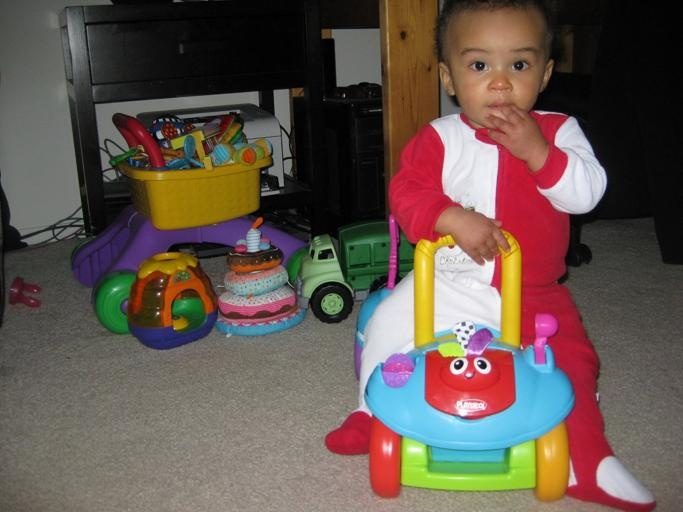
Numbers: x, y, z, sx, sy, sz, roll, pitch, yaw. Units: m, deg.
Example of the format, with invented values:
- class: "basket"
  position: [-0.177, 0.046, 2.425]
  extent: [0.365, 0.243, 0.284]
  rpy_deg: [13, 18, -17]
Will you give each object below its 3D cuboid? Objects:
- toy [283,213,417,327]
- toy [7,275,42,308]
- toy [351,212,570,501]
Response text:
- class: "toy"
  position: [0.018, 0.022, 1.718]
  extent: [0.347, 0.243, 0.228]
  rpy_deg: [-8, 19, -4]
- class: "toy"
  position: [-0.991, 0.109, 1.788]
  extent: [0.048, 0.089, 0.118]
  rpy_deg: [-8, -21, 43]
- class: "toy"
  position: [0.207, 0.179, 1.157]
  extent: [0.295, 0.315, 0.493]
  rpy_deg: [0, 16, 3]
